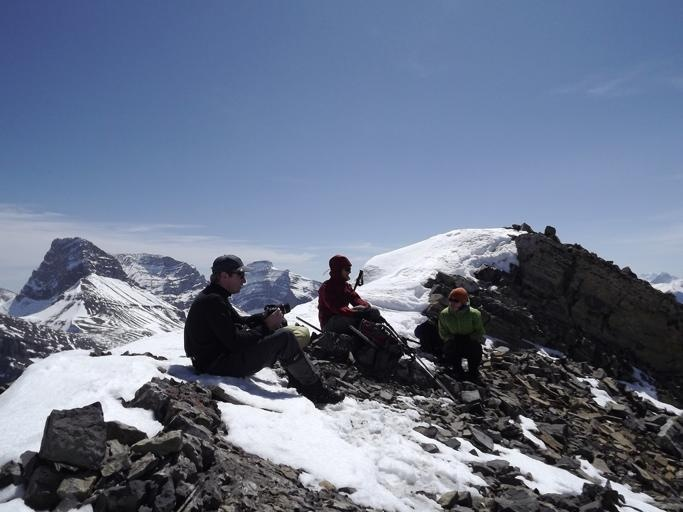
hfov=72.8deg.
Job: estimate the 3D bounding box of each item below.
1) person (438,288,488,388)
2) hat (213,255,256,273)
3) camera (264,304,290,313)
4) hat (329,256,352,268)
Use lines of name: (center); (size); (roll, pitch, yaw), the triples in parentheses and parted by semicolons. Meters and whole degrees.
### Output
person: (3.790, 2.436, 14.799); (0.926, 2.848, 1.443); (8, -8, -26)
hat: (-2.326, 0.197, 9.671); (0.695, 0.281, 0.422); (3, 3, -14)
camera: (-1.556, 1.308, 11.162); (0.518, 0.242, 0.414); (-7, 10, 1)
hat: (-0.059, 0.178, 15.023); (0.701, 0.333, 0.386); (-1, 1, -2)
